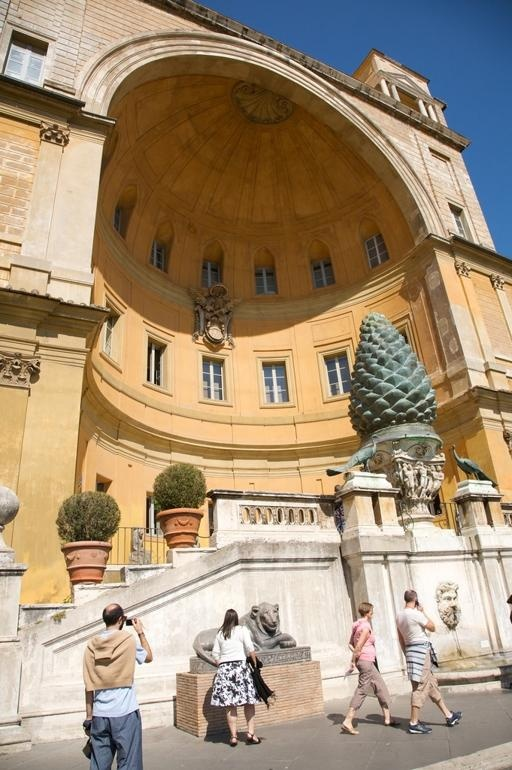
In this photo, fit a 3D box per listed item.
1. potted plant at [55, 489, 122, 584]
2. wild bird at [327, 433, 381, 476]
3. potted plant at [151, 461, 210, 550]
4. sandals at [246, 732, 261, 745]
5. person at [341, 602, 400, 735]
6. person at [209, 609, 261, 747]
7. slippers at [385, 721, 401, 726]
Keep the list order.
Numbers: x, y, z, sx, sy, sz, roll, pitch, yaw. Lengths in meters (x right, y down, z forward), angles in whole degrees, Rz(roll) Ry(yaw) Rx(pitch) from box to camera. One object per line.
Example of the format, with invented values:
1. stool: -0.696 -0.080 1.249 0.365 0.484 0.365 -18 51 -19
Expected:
1. potted plant: -2.417 2.178 6.931 0.838 1.294 0.501 0 -27 -13
2. wild bird: 1.707 1.285 8.628 0.977 0.706 0.652 19 -36 -42
3. potted plant: -1.327 2.078 8.478 0.875 1.504 0.808 3 -9 -25
4. sandals: -0.023 2.916 3.991 0.120 0.074 0.110 -4 -26 -4
5. person: 1.013 2.561 4.458 0.561 0.974 0.280 16 -25 -32
6. person: -0.176 2.461 4.124 0.406 0.996 0.315 -6 -28 5
7. slippers: 1.233 3.030 4.323 0.145 0.054 0.063 1 -37 -3
